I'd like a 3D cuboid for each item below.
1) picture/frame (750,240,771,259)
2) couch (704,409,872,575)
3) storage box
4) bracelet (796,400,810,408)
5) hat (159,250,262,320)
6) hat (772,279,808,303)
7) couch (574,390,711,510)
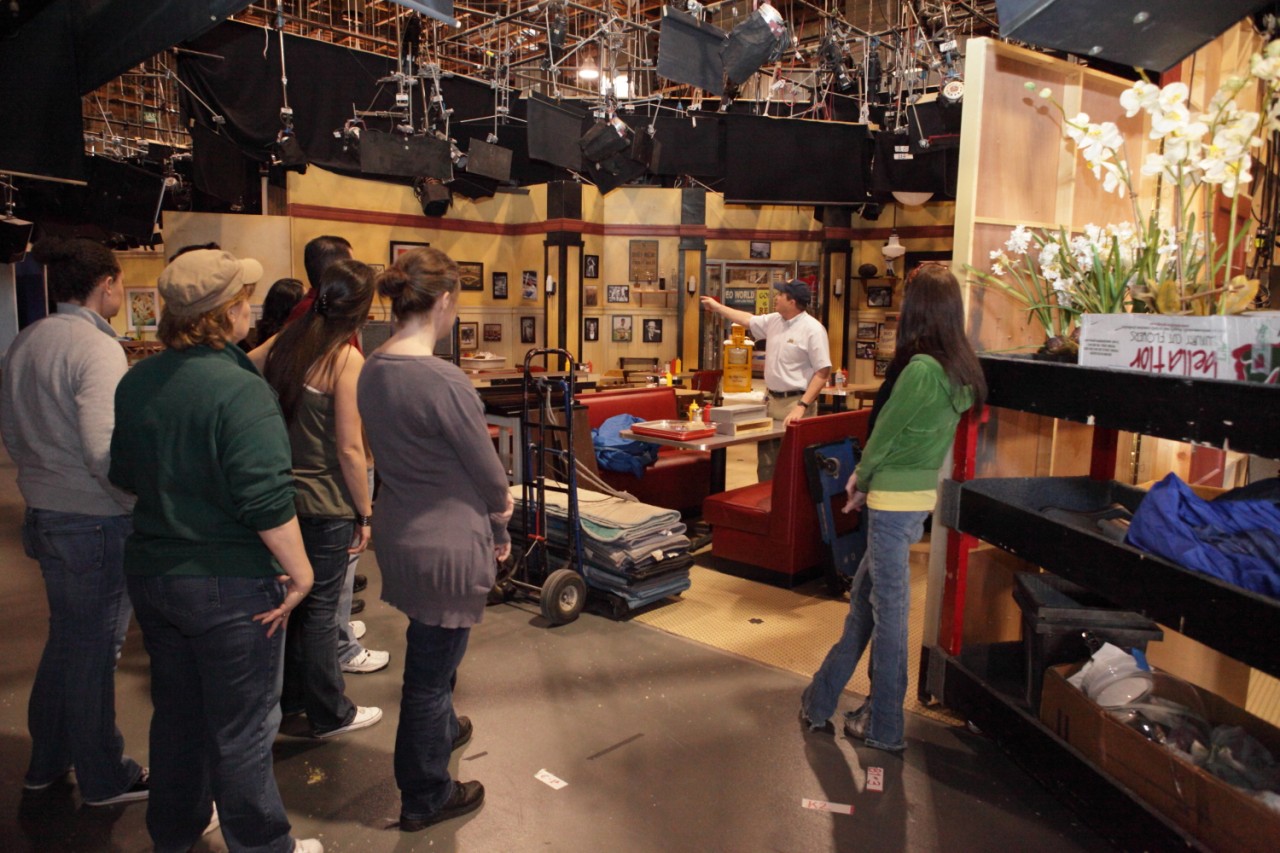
[{"bbox_3d":[1.934,-2.825,15.462,0.439,0.307,0.240,1,7,-1],"label":"picture/frame"},{"bbox_3d":[1.346,0.583,7.904,0.888,1.263,1.571,4,2,43],"label":"couch"},{"bbox_3d":[2.384,1.027,5.252,0.618,0.693,0.693,6,3,7],"label":"storage box"},{"bbox_3d":[1.330,-0.183,7.785,0.092,0.065,0.097,10,-6,-19],"label":"bracelet"},{"bbox_3d":[-1.795,-0.594,4.087,0.366,0.169,0.263,-32,63,-35],"label":"hat"},{"bbox_3d":[1.320,-1.149,8.231,0.209,0.180,0.236,-15,-3,13],"label":"hat"},{"bbox_3d":[0.000,0.231,8.070,0.524,0.797,0.989,6,9,41],"label":"couch"}]
